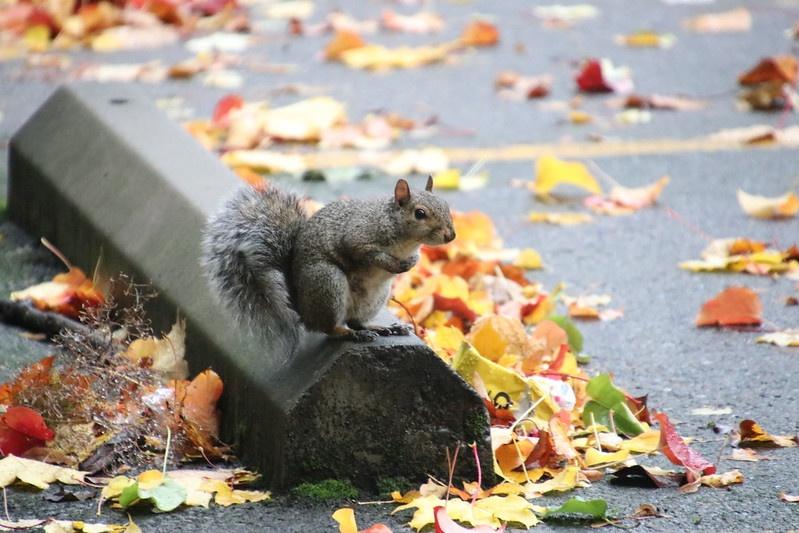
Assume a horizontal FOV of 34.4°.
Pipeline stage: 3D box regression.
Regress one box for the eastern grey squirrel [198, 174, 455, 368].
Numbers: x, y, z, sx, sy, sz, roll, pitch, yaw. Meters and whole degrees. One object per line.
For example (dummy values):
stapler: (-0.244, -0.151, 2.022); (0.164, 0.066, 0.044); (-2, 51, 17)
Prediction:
eastern grey squirrel: (-0.355, -0.063, 6.105); (1.112, 0.565, 0.700); (-25, 47, -7)
